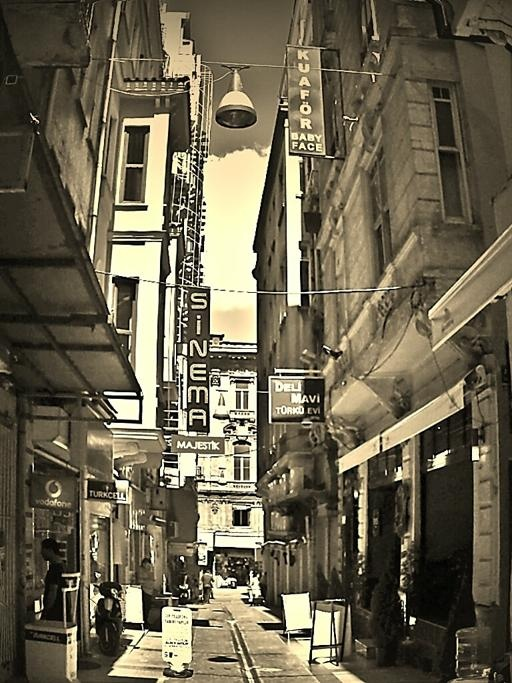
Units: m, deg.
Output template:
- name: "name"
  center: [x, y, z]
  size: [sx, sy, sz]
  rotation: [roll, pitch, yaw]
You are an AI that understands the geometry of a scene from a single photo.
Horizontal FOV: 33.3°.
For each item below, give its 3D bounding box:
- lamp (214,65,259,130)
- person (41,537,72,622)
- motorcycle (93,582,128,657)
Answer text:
- name: "lamp"
  center: [-0.349, -4.099, 14.241]
  size: [0.647, 0.923, 0.714]
  rotation: [0, -15, -9]
- name: "person"
  center: [-2.656, 3.153, 11.398]
  size: [0.393, 1.092, 0.792]
  rotation: [2, -15, -16]
- name: "motorcycle"
  center: [-2.487, 4.504, 13.982]
  size: [0.463, 1.111, 1.380]
  rotation: [5, -12, -19]
